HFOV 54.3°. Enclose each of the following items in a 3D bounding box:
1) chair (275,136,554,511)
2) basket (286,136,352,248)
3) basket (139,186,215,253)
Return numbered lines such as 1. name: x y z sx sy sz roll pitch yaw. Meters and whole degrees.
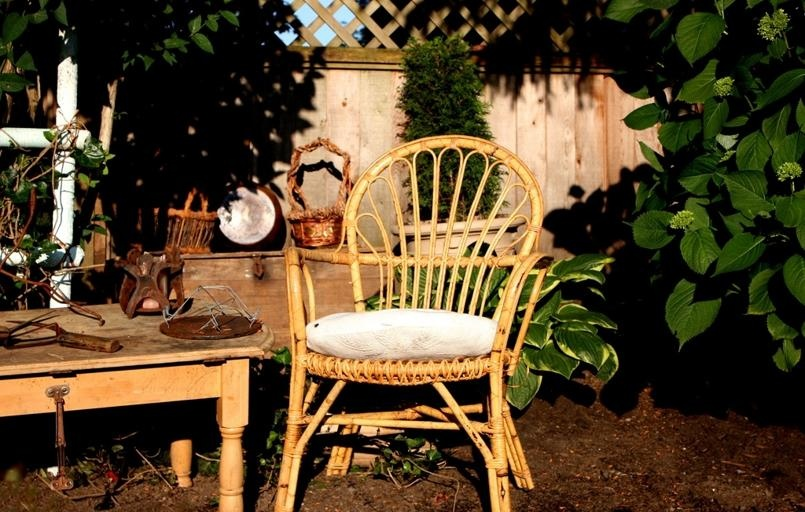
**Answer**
1. chair: 0.063 0.216 4.035 1.293 1.660 2.090 4 8 8
2. basket: -0.489 -0.383 4.632 0.360 0.651 0.363 1 2 1
3. basket: -1.230 -0.209 4.523 0.372 0.370 0.305 4 5 -41
